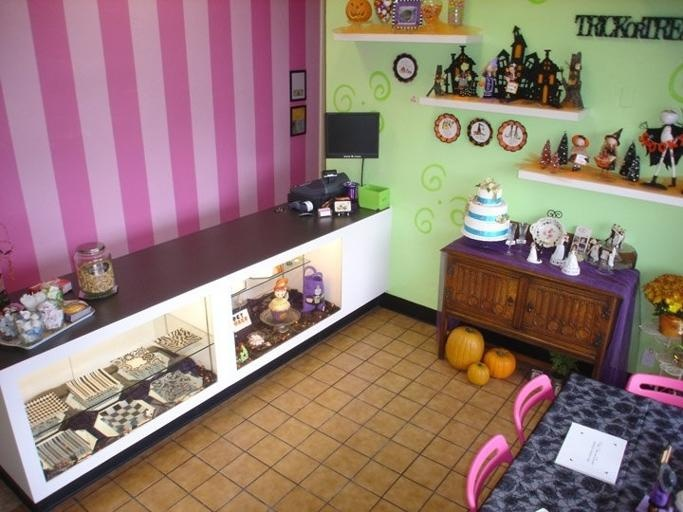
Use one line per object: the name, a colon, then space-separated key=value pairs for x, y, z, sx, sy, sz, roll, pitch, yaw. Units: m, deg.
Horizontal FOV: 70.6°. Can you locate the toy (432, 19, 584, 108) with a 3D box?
toy: x=1.431 y=-1.640 z=4.103 sx=1.266 sy=0.600 sz=0.326 roll=18 pitch=31 yaw=31

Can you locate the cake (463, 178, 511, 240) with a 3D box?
cake: x=1.243 y=-0.449 z=4.423 sx=0.467 sy=0.496 sz=0.488 roll=-1 pitch=21 yaw=0

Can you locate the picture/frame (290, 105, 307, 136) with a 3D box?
picture/frame: x=-0.517 y=-1.670 z=5.856 sx=0.025 sy=0.348 sz=0.301 roll=15 pitch=28 yaw=30

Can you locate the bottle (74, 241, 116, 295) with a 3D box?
bottle: x=-1.768 y=0.083 z=3.466 sx=0.261 sy=0.362 sz=0.261 roll=1 pitch=26 yaw=0

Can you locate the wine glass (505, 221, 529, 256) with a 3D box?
wine glass: x=1.581 y=-0.158 z=4.360 sx=0.200 sy=0.342 sz=0.223 roll=5 pitch=26 yaw=10

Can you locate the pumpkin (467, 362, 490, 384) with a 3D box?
pumpkin: x=1.252 y=1.070 z=4.499 sx=0.180 sy=0.186 sz=0.185 roll=-9 pitch=28 yaw=-19

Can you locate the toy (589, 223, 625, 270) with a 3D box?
toy: x=2.249 y=-0.077 z=4.075 sx=0.114 sy=0.360 sz=0.235 roll=-15 pitch=35 yaw=-35

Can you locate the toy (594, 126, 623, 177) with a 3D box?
toy: x=2.170 y=-0.864 z=3.916 sx=0.156 sy=0.325 sz=0.199 roll=17 pitch=30 yaw=31

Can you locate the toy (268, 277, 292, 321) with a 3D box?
toy: x=-0.559 y=0.394 z=4.638 sx=0.188 sy=0.358 sz=0.214 roll=6 pitch=14 yaw=31

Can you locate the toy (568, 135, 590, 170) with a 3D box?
toy: x=1.985 y=-0.867 z=4.013 sx=0.169 sy=0.270 sz=0.215 roll=12 pitch=28 yaw=23

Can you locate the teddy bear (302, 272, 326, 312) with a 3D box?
teddy bear: x=-0.278 y=0.369 z=4.882 sx=0.214 sy=0.376 sz=0.263 roll=5 pitch=7 yaw=43

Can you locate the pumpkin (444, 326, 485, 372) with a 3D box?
pumpkin: x=1.214 y=0.860 z=4.756 sx=0.386 sy=0.419 sz=0.458 roll=11 pitch=30 yaw=9

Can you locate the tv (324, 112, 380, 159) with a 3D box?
tv: x=0.120 y=-1.243 z=4.873 sx=0.432 sy=0.383 sz=0.046 roll=1 pitch=14 yaw=2

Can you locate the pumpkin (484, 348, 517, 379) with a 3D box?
pumpkin: x=1.521 y=1.010 z=4.630 sx=0.300 sy=0.282 sz=0.314 roll=12 pitch=3 yaw=39

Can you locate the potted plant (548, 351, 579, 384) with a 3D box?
potted plant: x=1.941 y=0.968 z=4.206 sx=0.220 sy=0.322 sz=0.232 roll=13 pitch=36 yaw=21

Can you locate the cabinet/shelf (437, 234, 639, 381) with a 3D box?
cabinet/shelf: x=1.655 y=0.659 z=4.452 sx=1.574 sy=1.108 sz=0.546 roll=17 pitch=10 yaw=38
